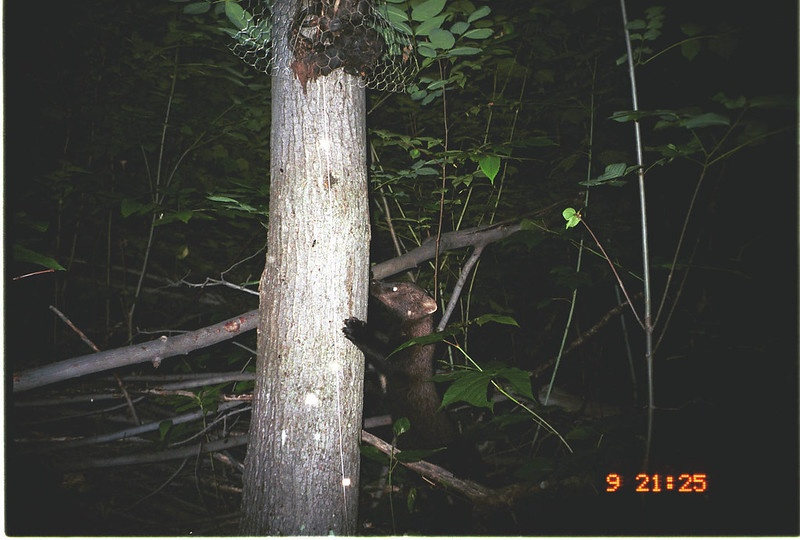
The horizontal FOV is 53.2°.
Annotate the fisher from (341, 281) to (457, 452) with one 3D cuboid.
[{"bbox_3d":[0.049,0.635,5.061,0.498,1.140,0.585,-10,9,2],"label":"fisher"}]
